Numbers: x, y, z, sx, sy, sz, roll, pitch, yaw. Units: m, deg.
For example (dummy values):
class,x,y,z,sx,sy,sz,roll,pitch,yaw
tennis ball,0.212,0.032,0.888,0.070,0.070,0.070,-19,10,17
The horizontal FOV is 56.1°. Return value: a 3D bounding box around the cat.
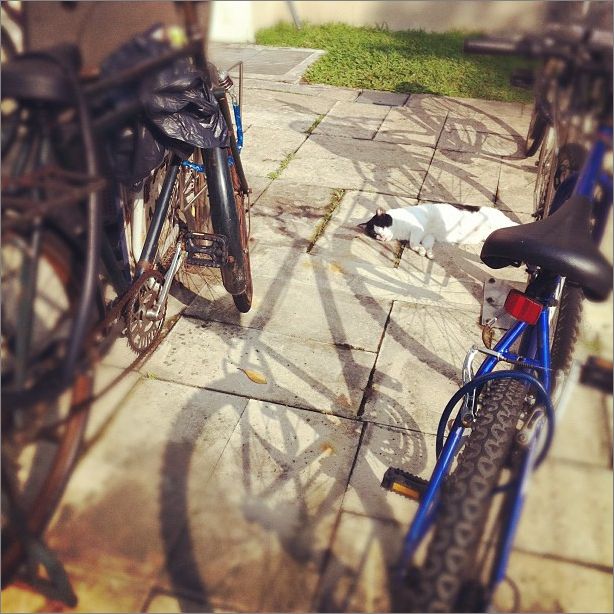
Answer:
class,x,y,z,sx,sy,sz,roll,pitch,yaw
cat,1.156,-0.754,5.372,1.649,0.575,0.536,-10,6,-7
